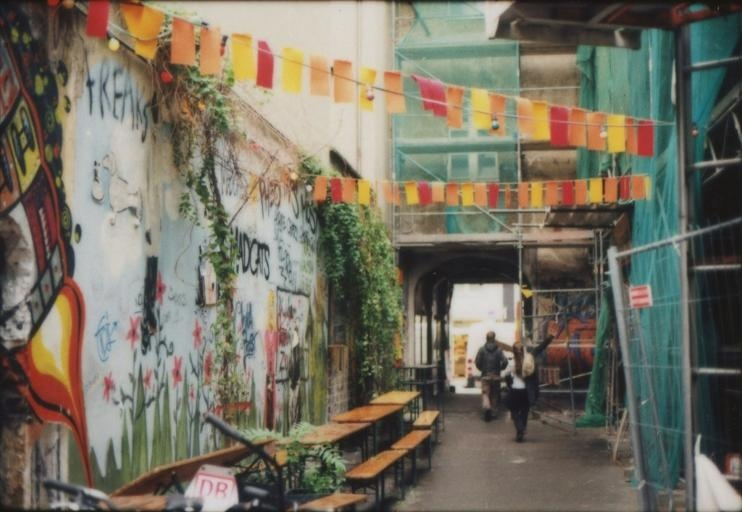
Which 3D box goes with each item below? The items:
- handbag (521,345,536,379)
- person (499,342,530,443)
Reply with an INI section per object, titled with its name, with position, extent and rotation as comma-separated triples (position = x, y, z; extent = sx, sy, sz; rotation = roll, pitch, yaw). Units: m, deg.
[handbag]
position = 2.808, 1.887, 21.547
extent = 0.190, 0.538, 0.608
rotation = -1, -4, 9
[person]
position = 2.656, 2.383, 21.585
extent = 0.479, 1.705, 1.345
rotation = -1, -3, 5
